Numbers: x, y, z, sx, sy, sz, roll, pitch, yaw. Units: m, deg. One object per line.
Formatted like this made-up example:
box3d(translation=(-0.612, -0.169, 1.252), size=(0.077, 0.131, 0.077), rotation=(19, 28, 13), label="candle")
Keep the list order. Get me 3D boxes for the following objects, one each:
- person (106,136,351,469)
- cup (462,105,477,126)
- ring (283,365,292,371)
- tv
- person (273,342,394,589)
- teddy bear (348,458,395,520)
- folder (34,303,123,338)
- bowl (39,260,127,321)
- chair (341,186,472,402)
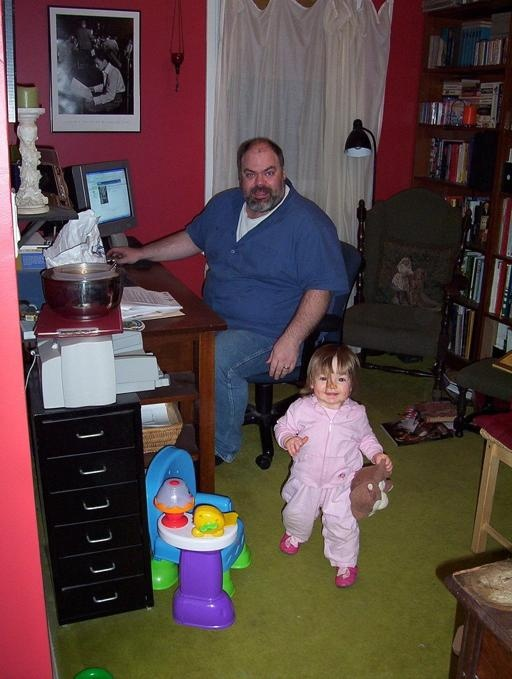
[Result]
box3d(translation=(-0.166, -0.218, 2.677), size=(0.855, 1.497, 1.331), rotation=(-16, 28, -43), label="person")
box3d(translation=(1.372, -1.439, 3.401), size=(0.086, 0.135, 0.082), rotation=(1, 18, 0), label="cup")
box3d(translation=(0.138, 0.127, 2.318), size=(0.029, 0.026, 0.047), rotation=(3, 0, 13), label="ring")
box3d(translation=(-0.794, -0.714, 2.637), size=(0.195, 0.331, 0.353), rotation=(9, 26, 27), label="tv")
box3d(translation=(0.256, 0.437, 1.851), size=(0.406, 0.817, 0.271), rotation=(6, 19, 14), label="person")
box3d(translation=(0.368, 0.479, 1.807), size=(0.190, 0.118, 0.248), rotation=(5, 40, 10), label="teddy bear")
box3d(translation=(-0.500, -0.062, 1.504), size=(0.223, 0.035, 0.303), rotation=(-4, 18, -15), label="folder")
box3d(translation=(-0.488, -0.135, 1.509), size=(0.215, 0.133, 0.234), rotation=(1, 16, 0), label="bowl")
box3d(translation=(0.903, -0.296, 3.353), size=(0.851, 1.219, 0.763), rotation=(5, 15, 12), label="chair")
